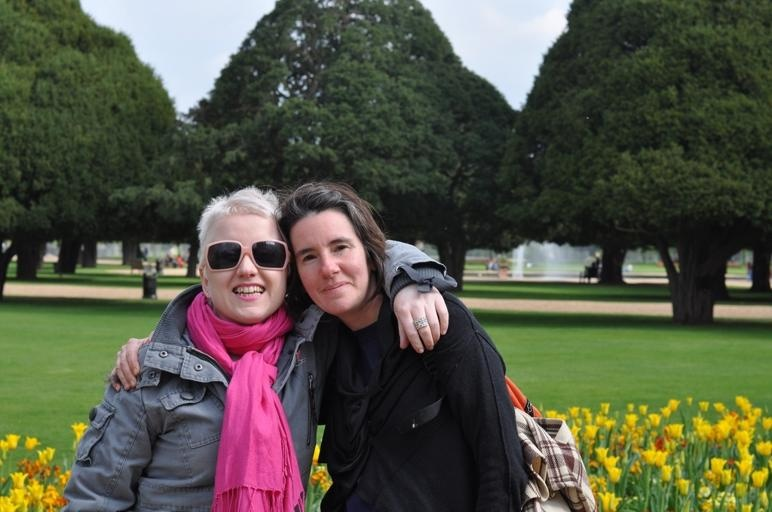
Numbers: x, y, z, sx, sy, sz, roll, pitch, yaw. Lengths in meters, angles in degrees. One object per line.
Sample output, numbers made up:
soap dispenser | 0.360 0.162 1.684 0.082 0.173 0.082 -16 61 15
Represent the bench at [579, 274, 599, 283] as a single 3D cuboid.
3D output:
bench | 4.376 0.502 16.847 0.120 0.164 0.522 11 6 -31
